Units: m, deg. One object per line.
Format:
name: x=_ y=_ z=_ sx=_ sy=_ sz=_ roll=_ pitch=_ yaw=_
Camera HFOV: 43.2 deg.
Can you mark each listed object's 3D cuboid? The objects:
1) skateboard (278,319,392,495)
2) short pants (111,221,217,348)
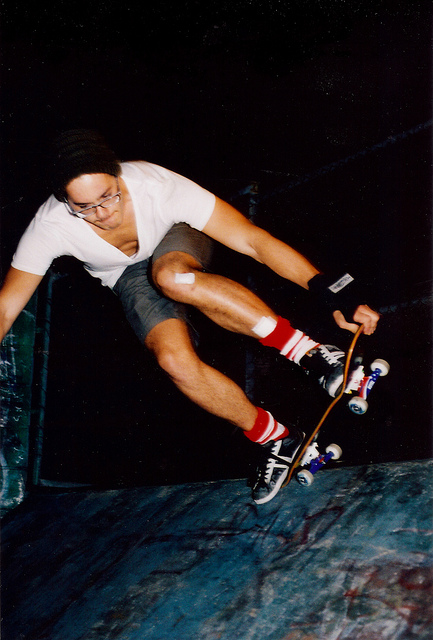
skateboard: x=0.746 y=0.592 z=3.192 sx=0.250 sy=1.467 sz=0.393 roll=10 pitch=44 yaw=-17
short pants: x=-0.278 y=-0.217 z=3.473 sx=0.753 sy=0.765 sz=0.608 roll=-14 pitch=24 yaw=-9
